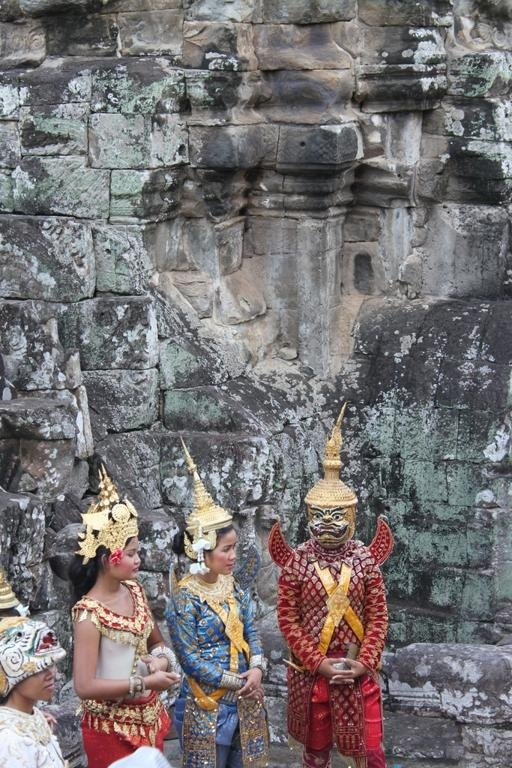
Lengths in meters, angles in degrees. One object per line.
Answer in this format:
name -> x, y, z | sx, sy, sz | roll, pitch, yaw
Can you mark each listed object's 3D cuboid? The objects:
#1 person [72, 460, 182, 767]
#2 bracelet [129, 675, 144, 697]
person -> -0.433, 0.785, 5.113 | 0.363, 0.971, 0.398 | 3, 4, -7
bracelet -> -0.381, 0.966, 4.971 | 0.045, 0.059, 0.034 | -5, -9, -14
